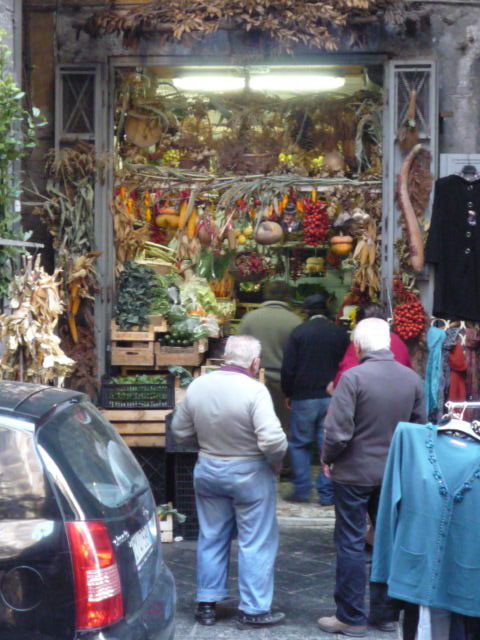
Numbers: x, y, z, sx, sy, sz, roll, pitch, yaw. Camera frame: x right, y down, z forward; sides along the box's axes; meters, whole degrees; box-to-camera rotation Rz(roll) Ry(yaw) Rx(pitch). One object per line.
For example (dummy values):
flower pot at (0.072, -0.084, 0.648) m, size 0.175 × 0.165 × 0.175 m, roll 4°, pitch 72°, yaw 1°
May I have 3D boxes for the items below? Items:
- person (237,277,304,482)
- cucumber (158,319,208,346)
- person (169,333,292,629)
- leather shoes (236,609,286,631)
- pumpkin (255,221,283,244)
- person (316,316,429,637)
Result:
person at (0.282, 0.325, 12.171) m, size 0.411 × 1.525 × 0.444 m, roll 0°, pitch 26°, yaw 2°
cucumber at (-0.407, 0.099, 11.506) m, size 0.201 × 0.151 × 0.283 m, roll -5°, pitch -3°, yaw 23°
person at (-0.019, 0.913, 8.732) m, size 0.671 × 1.637 × 0.364 m, roll 2°, pitch 3°, yaw 40°
leather shoes at (0.121, 1.696, 8.698) m, size 0.231 × 0.127 × 0.109 m, roll -2°, pitch 3°, yaw -10°
pumpkin at (0.232, -0.697, 12.068) m, size 0.216 × 0.193 × 0.220 m, roll 0°, pitch 2°, yaw 0°
person at (0.716, 0.877, 8.610) m, size 0.541 × 1.762 × 0.472 m, roll 1°, pitch 2°, yaw 20°
